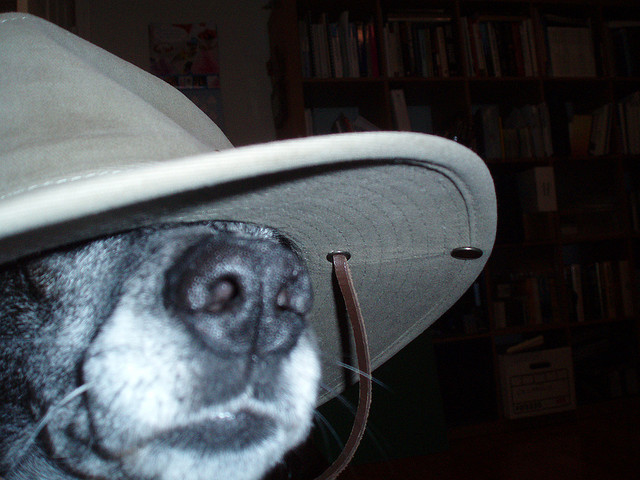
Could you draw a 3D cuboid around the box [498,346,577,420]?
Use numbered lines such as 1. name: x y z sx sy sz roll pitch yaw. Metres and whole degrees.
1. box: 1.049 0.690 2.910 0.327 0.325 0.323 -1 -12 -13
